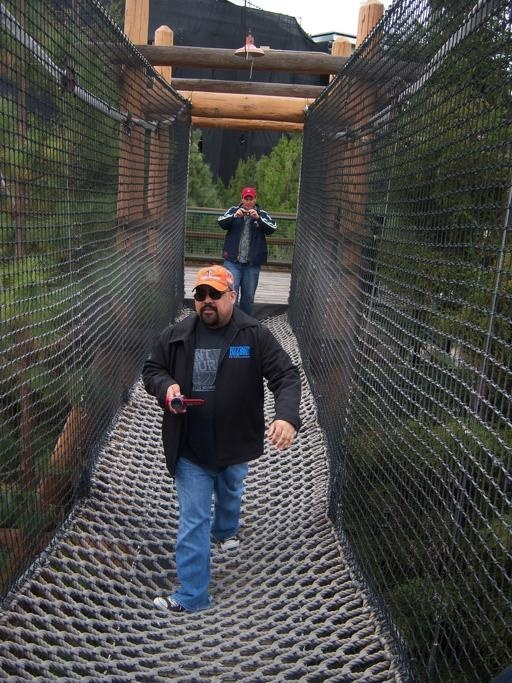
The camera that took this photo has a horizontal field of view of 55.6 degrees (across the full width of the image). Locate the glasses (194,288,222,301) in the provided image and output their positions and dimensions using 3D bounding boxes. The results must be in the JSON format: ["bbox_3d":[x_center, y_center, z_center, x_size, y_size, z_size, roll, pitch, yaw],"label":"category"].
[{"bbox_3d":[-0.290,-0.276,2.842,0.185,0.084,0.088,-2,-4,16],"label":"glasses"}]

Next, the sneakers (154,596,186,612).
[{"bbox_3d":[-0.466,1.408,2.603,0.170,0.075,0.052,-1,-4,-9],"label":"sneakers"}]

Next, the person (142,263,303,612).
[{"bbox_3d":[-0.218,0.505,2.803,0.928,1.910,0.432,-1,-4,5],"label":"person"}]

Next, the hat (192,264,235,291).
[{"bbox_3d":[-0.235,-0.390,2.923,0.142,0.121,0.212,2,-8,13],"label":"hat"}]

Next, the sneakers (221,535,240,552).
[{"bbox_3d":[-0.184,1.422,3.425,0.147,0.068,0.060,3,-6,-23],"label":"sneakers"}]

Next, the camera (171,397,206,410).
[{"bbox_3d":[-0.375,0.337,2.678,0.181,0.081,0.300,-1,-3,-6],"label":"camera"}]
